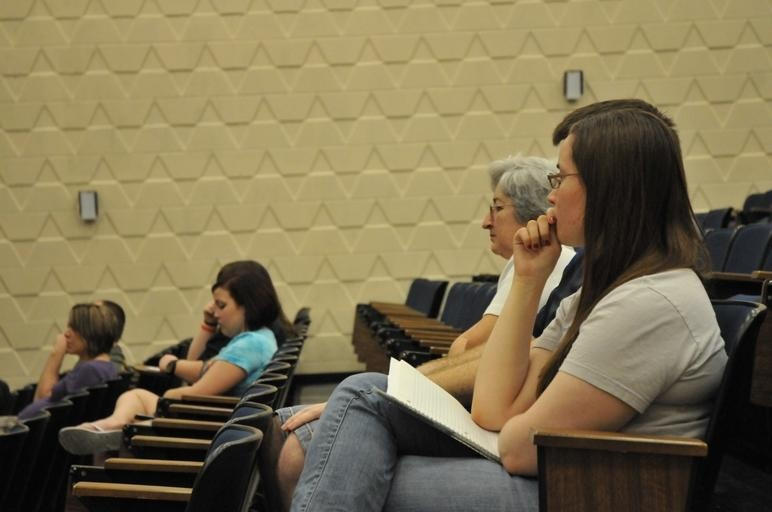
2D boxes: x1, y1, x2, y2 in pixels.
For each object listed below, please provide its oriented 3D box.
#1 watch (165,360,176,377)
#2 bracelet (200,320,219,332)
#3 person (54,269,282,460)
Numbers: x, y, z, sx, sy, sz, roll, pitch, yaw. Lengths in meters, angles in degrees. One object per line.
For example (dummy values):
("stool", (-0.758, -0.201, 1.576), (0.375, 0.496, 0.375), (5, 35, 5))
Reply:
("watch", (-1.158, 0.601, 3.961), (0.042, 0.080, 0.068), (9, -16, 5))
("bracelet", (-1.086, 0.434, 4.483), (0.063, 0.030, 0.071), (5, -13, 19))
("person", (-1.073, 0.544, 3.773), (1.191, 0.995, 0.527), (4, -8, -30))
